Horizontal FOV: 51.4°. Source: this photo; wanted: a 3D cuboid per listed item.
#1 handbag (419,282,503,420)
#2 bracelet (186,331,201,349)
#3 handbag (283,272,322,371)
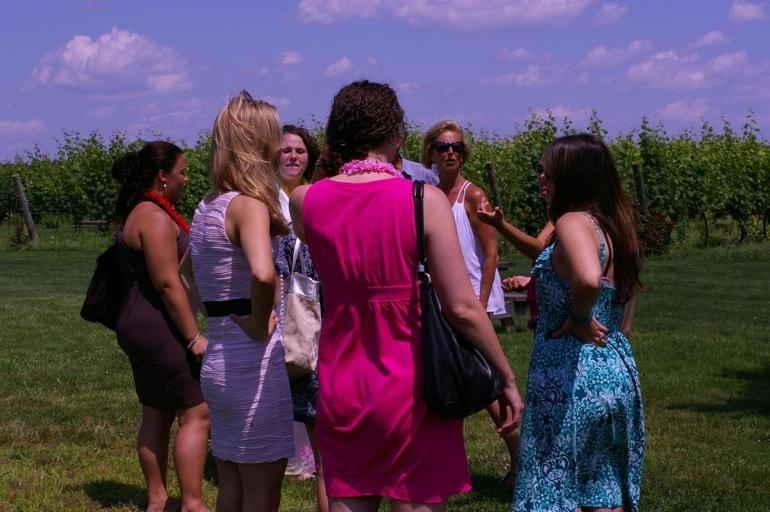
[{"bbox_3d":[0.527,0.544,5.424,0.637,0.992,0.417,-7,7,-6],"label":"handbag"},{"bbox_3d":[-1.656,0.742,6.978,0.049,0.135,0.103,26,-3,-17],"label":"bracelet"},{"bbox_3d":[-0.653,0.564,6.431,0.333,0.955,0.686,2,-5,-10],"label":"handbag"}]
